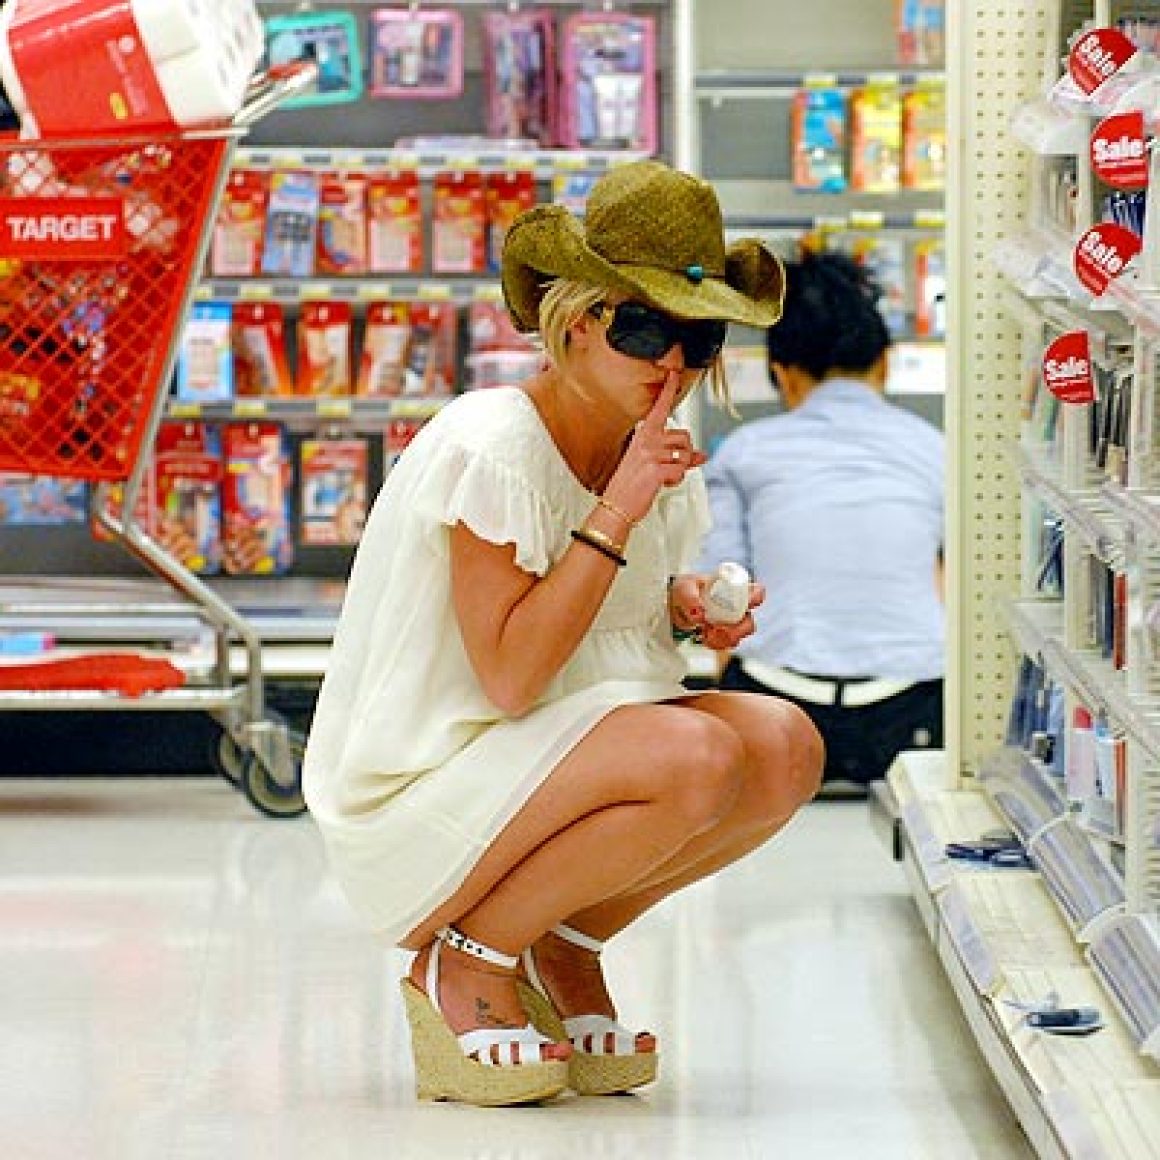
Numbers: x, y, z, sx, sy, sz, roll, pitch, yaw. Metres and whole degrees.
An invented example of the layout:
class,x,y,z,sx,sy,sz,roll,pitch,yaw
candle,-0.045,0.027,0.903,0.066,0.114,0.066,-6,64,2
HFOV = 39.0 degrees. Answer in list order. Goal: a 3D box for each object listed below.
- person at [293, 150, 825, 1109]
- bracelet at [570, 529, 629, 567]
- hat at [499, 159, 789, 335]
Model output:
class,x,y,z,sx,sy,sz,roll,pitch,yaw
person,0.023,0.049,2.573,0.801,1.794,0.900,-1,1,13
bracelet,0.017,-0.033,1.772,0.053,0.049,0.026,-2,24,3
hat,0.070,-0.356,1.843,0.321,0.212,0.252,-5,25,-2
